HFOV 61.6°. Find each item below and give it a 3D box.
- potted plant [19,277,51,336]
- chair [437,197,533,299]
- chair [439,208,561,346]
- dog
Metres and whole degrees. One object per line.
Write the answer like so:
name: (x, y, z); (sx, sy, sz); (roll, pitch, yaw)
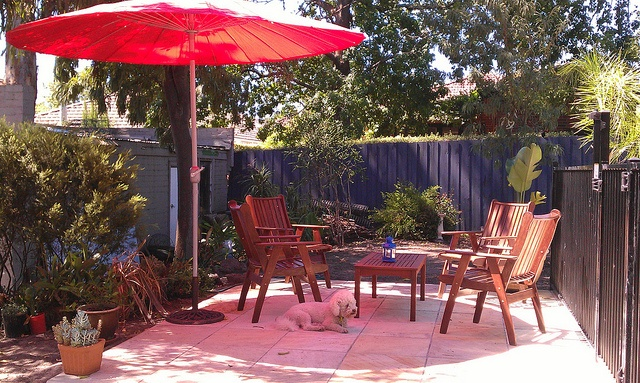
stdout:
potted plant: (-4.095, 1.669, 7.688); (0.424, 0.673, 0.322); (-1, 14, -2)
chair: (2.720, 0.912, 9.151); (1.747, 1.883, 1.398); (1, -1, 30)
chair: (2.630, 1.176, 7.978); (1.621, 1.864, 1.720); (0, 3, -8)
dog: (0.023, 1.706, 7.742); (0.946, 0.518, 0.610); (0, -6, 16)
